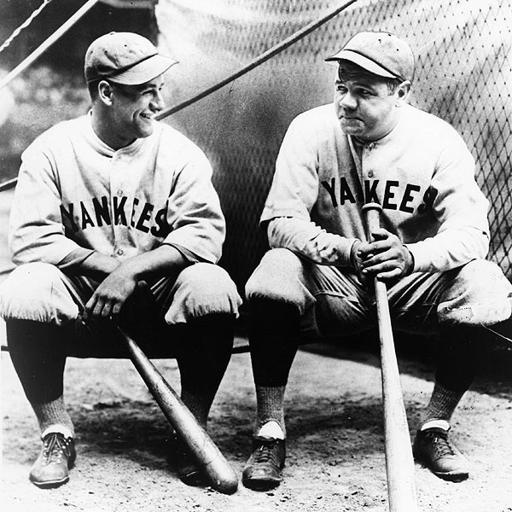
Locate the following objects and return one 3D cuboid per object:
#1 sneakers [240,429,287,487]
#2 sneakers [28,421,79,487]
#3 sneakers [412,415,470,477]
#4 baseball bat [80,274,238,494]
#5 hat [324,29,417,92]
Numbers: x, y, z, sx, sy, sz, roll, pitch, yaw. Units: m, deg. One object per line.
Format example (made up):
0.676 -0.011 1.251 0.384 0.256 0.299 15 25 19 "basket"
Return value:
0.032 0.677 2.779 0.112 0.139 0.142 8 25 14 "sneakers"
-0.674 0.663 2.798 0.134 0.152 0.150 5 24 7 "sneakers"
0.616 0.647 2.882 0.091 0.119 0.255 -11 11 -20 "sneakers"
-0.237 0.529 2.714 0.139 0.156 1.054 -31 72 -12 "baseball bat"
0.401 -0.663 2.877 0.228 0.126 0.171 23 3 -39 "hat"
